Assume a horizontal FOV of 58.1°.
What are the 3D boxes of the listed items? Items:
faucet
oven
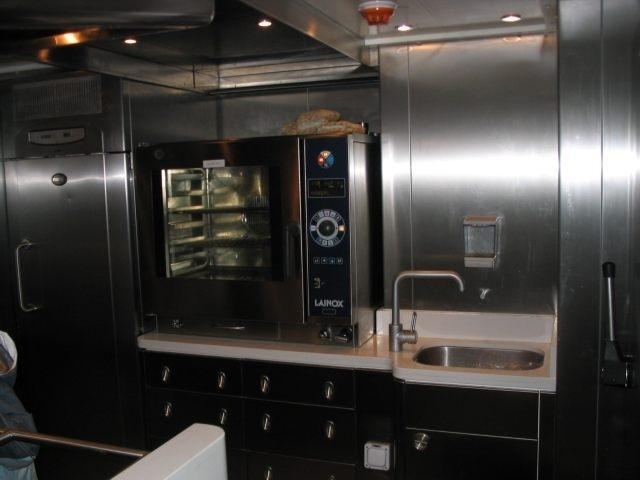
[{"bbox_3d":[0.527,0.261,2.808,0.333,0.247,0.340,-2,4,12],"label":"faucet"},{"bbox_3d":[-0.298,-0.024,3.091,1.181,0.947,0.640,1,7,17],"label":"oven"}]
